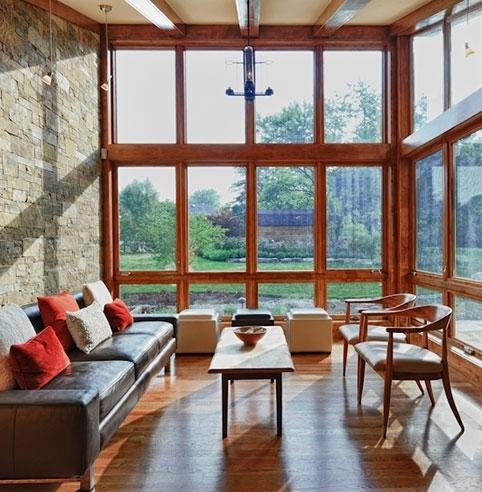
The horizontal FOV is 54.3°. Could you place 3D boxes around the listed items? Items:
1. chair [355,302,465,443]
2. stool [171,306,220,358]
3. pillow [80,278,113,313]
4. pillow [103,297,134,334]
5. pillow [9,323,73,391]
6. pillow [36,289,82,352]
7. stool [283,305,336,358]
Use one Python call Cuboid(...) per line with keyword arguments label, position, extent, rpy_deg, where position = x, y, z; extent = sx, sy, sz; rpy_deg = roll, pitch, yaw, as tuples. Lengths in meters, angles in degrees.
Cuboid(label="chair", position=(1.393, 0.957, 3.957), extent=(1.030, 1.087, 1.066), rpy_deg=(2, -6, -4))
Cuboid(label="stool", position=(-0.512, 0.973, 5.258), extent=(0.528, 0.395, 0.487), rpy_deg=(0, -2, 0))
Cuboid(label="pillow", position=(-1.451, 0.495, 4.633), extent=(0.123, 0.206, 0.306), rpy_deg=(-19, -3, 10))
Cuboid(label="pillow", position=(-1.222, 0.680, 4.582), extent=(0.149, 0.204, 0.361), rpy_deg=(-15, 1, 2))
Cuboid(label="pillow", position=(-1.349, 0.745, 3.113), extent=(0.170, 0.241, 0.407), rpy_deg=(-12, 1, 8))
Cuboid(label="pillow", position=(-1.453, 0.606, 3.715), extent=(0.213, 0.358, 0.486), rpy_deg=(-5, 2, -1))
Cuboid(label="stool", position=(0.736, 0.971, 5.249), extent=(0.557, 0.419, 0.502), rpy_deg=(0, -1, 2))
